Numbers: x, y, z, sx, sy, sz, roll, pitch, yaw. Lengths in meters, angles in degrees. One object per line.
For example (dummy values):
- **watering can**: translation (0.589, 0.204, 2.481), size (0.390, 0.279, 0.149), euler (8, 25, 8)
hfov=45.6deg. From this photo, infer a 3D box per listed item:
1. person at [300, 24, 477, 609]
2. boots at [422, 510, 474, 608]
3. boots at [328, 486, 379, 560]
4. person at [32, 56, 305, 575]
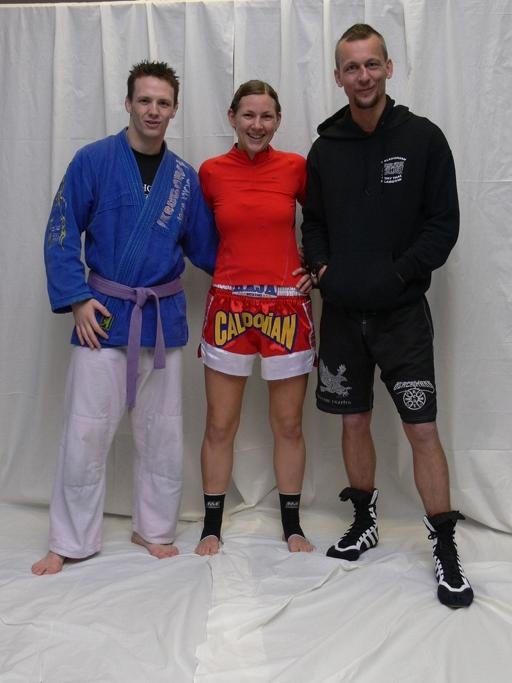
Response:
- **person**: translation (0.377, -0.119, 1.797), size (0.593, 1.572, 0.263), euler (1, 3, 42)
- **boots**: translation (0.537, 0.597, 1.692), size (0.103, 0.221, 0.308), euler (-7, -2, 11)
- **boots**: translation (0.331, 0.588, 2.002), size (0.100, 0.219, 0.291), euler (-1, -2, 34)
- **person**: translation (-0.402, -0.064, 1.923), size (0.553, 1.524, 0.316), euler (-1, 2, 0)
